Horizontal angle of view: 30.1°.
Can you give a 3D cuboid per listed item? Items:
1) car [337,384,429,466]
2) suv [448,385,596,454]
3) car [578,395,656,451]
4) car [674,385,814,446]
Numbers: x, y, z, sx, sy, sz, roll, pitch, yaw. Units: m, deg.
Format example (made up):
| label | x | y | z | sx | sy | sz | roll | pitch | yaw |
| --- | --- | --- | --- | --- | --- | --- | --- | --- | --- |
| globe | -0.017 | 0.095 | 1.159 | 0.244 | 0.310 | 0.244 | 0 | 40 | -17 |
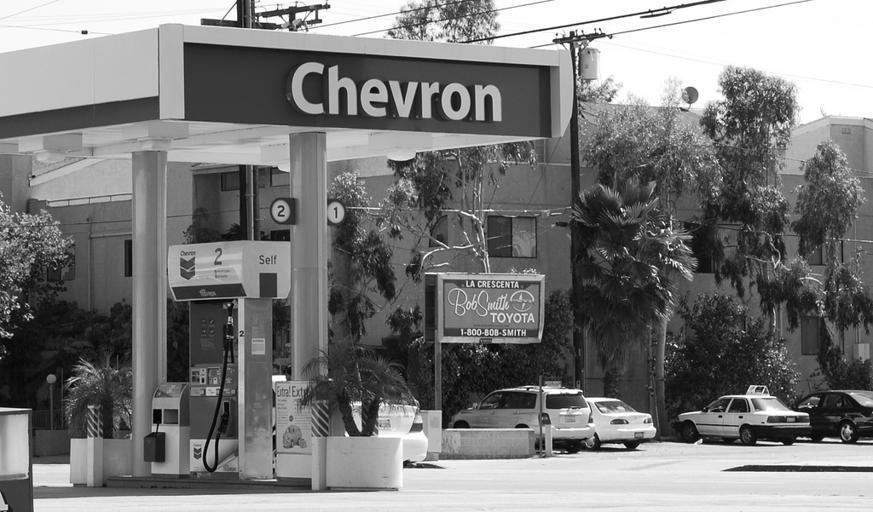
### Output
| label | x | y | z | sx | sy | sz | roll | pitch | yaw |
| --- | --- | --- | --- | --- | --- | --- | --- | --- | --- |
| car | -0.883 | 5.609 | 49.751 | 2.179 | 2.212 | 4.431 | 1 | 1 | -1 |
| suv | 3.451 | 5.761 | 57.619 | 2.031 | 2.294 | 5.378 | 2 | -4 | -35 |
| car | 6.242 | 6.229 | 59.257 | 2.100 | 2.149 | 4.326 | 2 | 0 | -28 |
| car | 11.456 | 6.045 | 61.489 | 4.584 | 2.199 | 1.365 | -7 | -9 | 40 |
